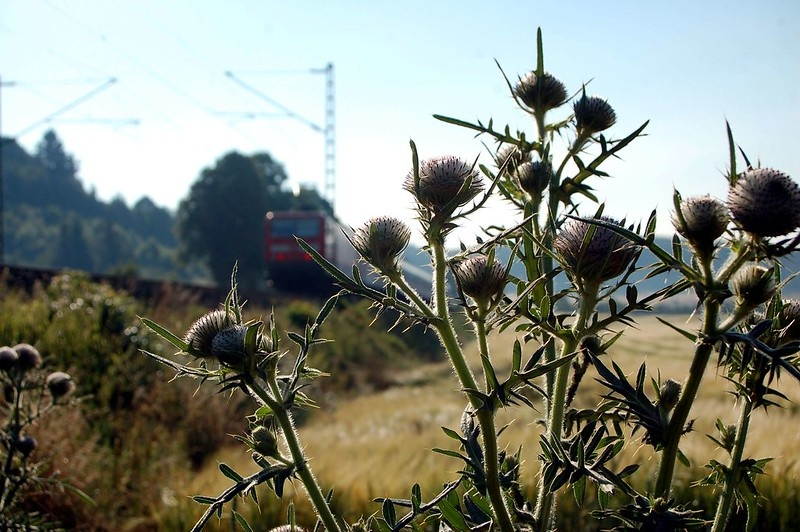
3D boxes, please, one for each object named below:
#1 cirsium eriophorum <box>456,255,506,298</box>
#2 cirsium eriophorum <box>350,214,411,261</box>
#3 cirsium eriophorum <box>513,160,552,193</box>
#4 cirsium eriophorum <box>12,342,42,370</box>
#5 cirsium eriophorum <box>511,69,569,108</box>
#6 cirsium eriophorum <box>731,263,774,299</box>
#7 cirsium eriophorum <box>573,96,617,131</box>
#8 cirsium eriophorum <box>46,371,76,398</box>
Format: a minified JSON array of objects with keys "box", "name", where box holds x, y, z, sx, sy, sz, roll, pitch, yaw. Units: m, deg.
[{"box":[0.701,0.127,8.923,0.391,0.488,0.407,-4,-2,-34],"name":"cirsium eriophorum"},{"box":[-0.157,-0.223,8.769,0.467,0.410,0.191,9,-12,-5],"name":"cirsium eriophorum"},{"box":[1.128,-0.770,9.123,0.272,0.330,0.305,-7,-6,1],"name":"cirsium eriophorum"},{"box":[-3.401,0.796,9.606,0.216,0.229,0.139,14,25,-1],"name":"cirsium eriophorum"},{"box":[1.235,-1.507,9.290,0.401,0.386,0.361,18,-17,-40],"name":"cirsium eriophorum"},{"box":[2.909,0.118,8.627,0.275,0.345,0.246,-7,-13,43],"name":"cirsium eriophorum"},{"box":[1.677,-1.314,9.039,0.352,0.322,0.335,5,-13,9],"name":"cirsium eriophorum"},{"box":[-3.156,1.102,9.822,0.197,0.294,0.167,-2,-9,-5],"name":"cirsium eriophorum"}]
